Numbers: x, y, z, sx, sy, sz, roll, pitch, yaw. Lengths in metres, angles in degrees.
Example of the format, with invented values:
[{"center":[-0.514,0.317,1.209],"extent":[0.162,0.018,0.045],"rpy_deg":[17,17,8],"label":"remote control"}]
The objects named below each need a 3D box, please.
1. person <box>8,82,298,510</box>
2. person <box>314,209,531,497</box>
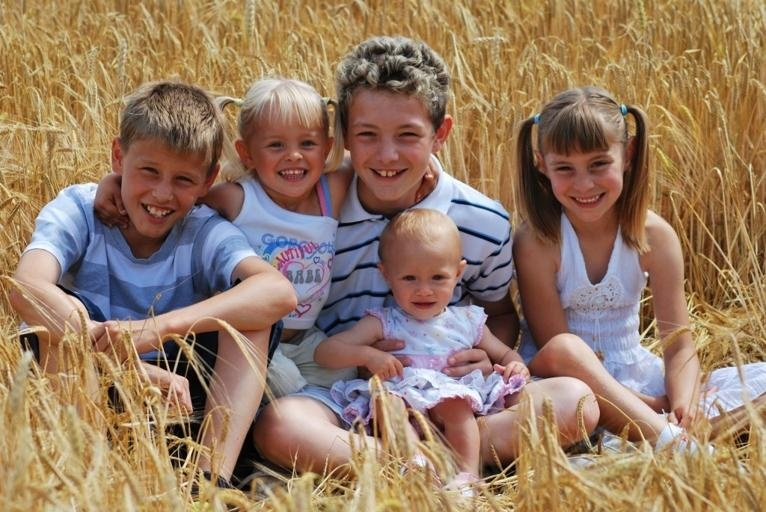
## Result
[{"center":[-0.966,0.121,3.368],"extent":[1.100,1.616,1.041],"rpy_deg":[7,23,23],"label":"person"},{"center":[0.220,0.418,3.467],"extent":[0.916,1.303,0.756],"rpy_deg":[-2,-1,-19],"label":"person"}]
